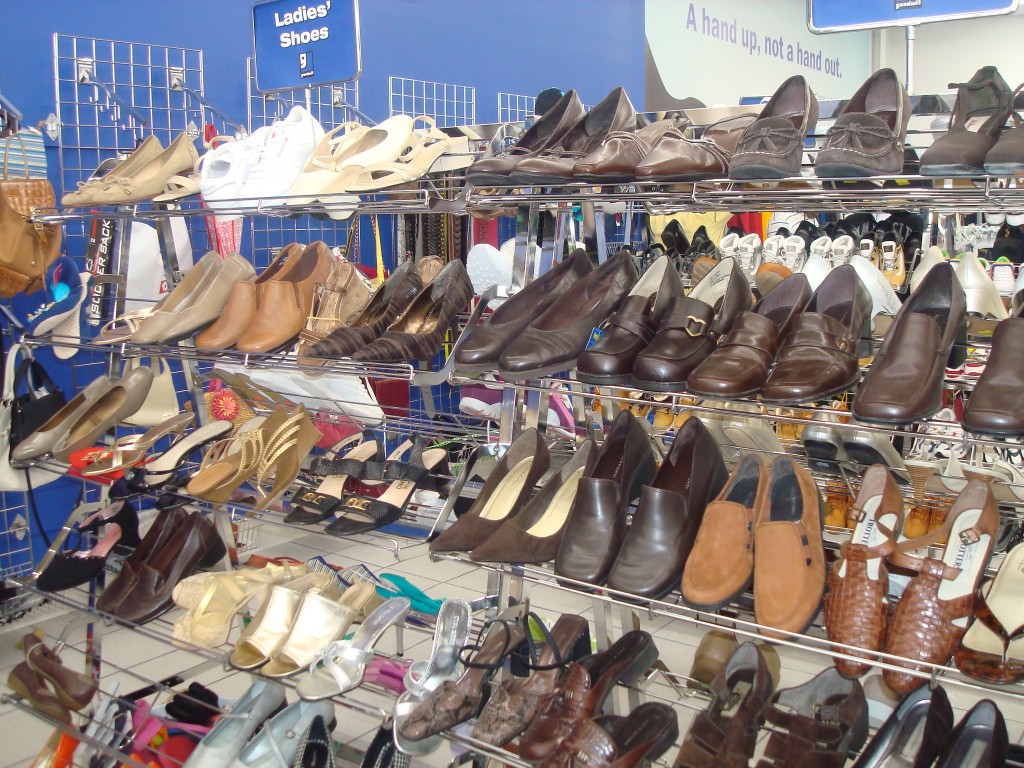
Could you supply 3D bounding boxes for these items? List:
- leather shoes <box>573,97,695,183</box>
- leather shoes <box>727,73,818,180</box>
[{"bbox_3d":[0.322,-0.548,1.808,0.134,0.104,0.395,14,49,46],"label":"leather shoes"},{"bbox_3d":[0.578,-0.569,1.684,0.166,0.251,0.401,2,12,21],"label":"leather shoes"}]
